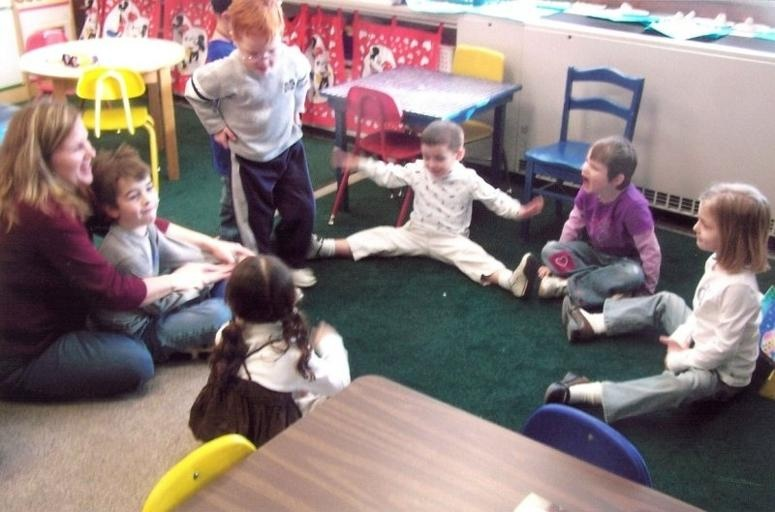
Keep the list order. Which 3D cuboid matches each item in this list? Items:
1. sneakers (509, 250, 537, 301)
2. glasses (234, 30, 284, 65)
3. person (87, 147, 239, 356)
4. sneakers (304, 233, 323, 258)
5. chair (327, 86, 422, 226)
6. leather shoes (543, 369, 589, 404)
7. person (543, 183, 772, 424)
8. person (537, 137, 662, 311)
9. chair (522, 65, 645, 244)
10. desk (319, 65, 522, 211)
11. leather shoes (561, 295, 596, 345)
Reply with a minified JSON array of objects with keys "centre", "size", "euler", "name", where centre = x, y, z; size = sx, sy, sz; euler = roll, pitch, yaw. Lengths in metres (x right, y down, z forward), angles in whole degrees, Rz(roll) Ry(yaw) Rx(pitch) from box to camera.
[{"centre":[0.710,0.112,2.962],"size":[0.101,0.270,0.123],"euler":[18,-8,-32],"name":"sneakers"},{"centre":[-0.565,-0.928,2.532],"size":[0.168,0.150,0.197],"euler":[-6,-10,-9],"name":"glasses"},{"centre":[-0.912,-0.005,2.463],"size":[0.674,0.858,0.616],"euler":[-10,16,-12],"name":"person"},{"centre":[-0.412,-0.060,3.257],"size":[0.053,0.067,0.158],"euler":[12,37,14],"name":"sneakers"},{"centre":[-0.041,-0.656,3.528],"size":[0.809,0.709,0.797],"euler":[5,15,-1],"name":"chair"},{"centre":[0.785,0.555,2.451],"size":[0.243,0.101,0.088],"euler":[-24,35,-20],"name":"leather shoes"},{"centre":[1.165,0.170,2.350],"size":[0.773,0.913,0.588],"euler":[-11,29,-23],"name":"person"},{"centre":[1.127,-0.161,3.002],"size":[0.621,0.828,0.624],"euler":[-22,28,-14],"name":"person"},{"centre":[1.182,-0.624,3.456],"size":[0.669,0.897,0.672],"euler":[2,31,12],"name":"chair"},{"centre":[0.248,-1.023,3.603],"size":[1.097,0.827,1.009],"euler":[16,30,28],"name":"desk"},{"centre":[0.921,0.317,2.736],"size":[0.098,0.105,0.204],"euler":[-7,23,2],"name":"leather shoes"}]
